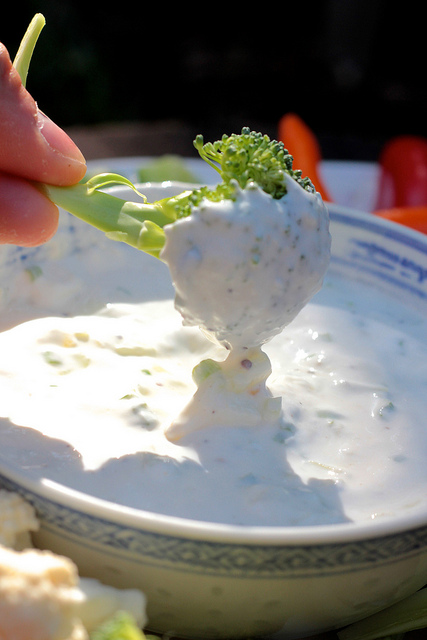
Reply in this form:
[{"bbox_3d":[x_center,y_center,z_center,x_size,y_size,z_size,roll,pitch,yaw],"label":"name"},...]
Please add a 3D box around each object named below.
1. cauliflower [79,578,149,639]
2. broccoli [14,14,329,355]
[{"bbox_3d":[-0.102,0.290,0.690,0.062,0.037,0.056,-6,42,-12],"label":"cauliflower"},{"bbox_3d":[-0.100,-0.147,1.009,0.490,0.200,0.285,19,46,25],"label":"broccoli"}]
